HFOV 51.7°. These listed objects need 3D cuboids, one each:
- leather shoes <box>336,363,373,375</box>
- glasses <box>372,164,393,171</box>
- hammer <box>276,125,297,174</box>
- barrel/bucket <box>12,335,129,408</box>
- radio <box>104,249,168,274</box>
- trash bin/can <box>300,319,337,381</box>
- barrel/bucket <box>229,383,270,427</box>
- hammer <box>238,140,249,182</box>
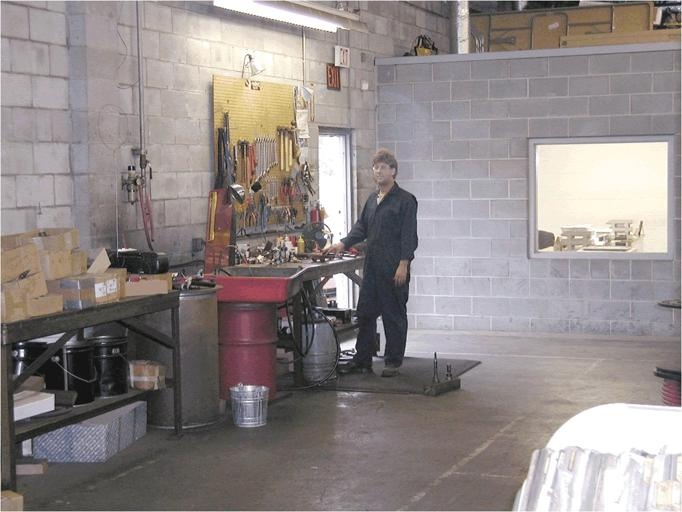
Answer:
[{"bbox_3d":[0.125,1.049,6.568,0.325,0.139,0.120,5,-3,-3],"label":"leather shoes"},{"bbox_3d":[0.403,-0.810,6.477,0.199,0.060,0.111,-1,7,-4],"label":"glasses"},{"bbox_3d":[-0.552,-1.094,7.309,0.047,0.454,0.352,4,8,32],"label":"hammer"},{"bbox_3d":[-1.778,0.727,4.732,0.475,0.301,0.494,-2,0,0],"label":"barrel/bucket"},{"bbox_3d":[-1.406,0.041,4.963,0.278,0.101,0.215,5,5,21],"label":"radio"},{"bbox_3d":[-0.127,0.876,6.348,0.362,0.487,0.360,-5,-5,7],"label":"trash bin/can"},{"bbox_3d":[-0.705,1.105,5.243,0.291,0.226,0.261,-2,-1,28],"label":"barrel/bucket"},{"bbox_3d":[-0.931,-0.895,6.706,0.030,0.376,0.145,4,8,30],"label":"hammer"}]
